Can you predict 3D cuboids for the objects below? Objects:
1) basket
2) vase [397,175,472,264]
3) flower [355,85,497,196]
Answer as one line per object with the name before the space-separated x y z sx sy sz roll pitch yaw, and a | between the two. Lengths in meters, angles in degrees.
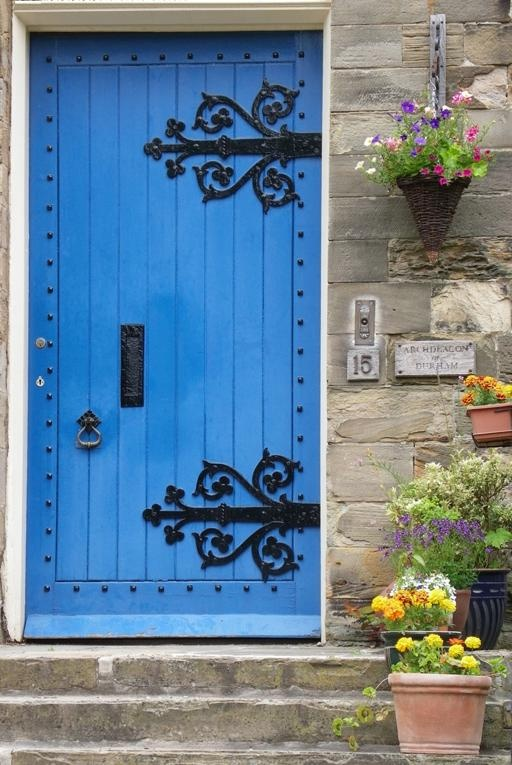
basket | 0.722 -0.663 6.328 0.291 0.332 0.319 -12 19 -31
vase | 0.721 -0.669 6.308 0.307 0.319 0.286 5 9 26
flower | 0.647 -0.959 6.243 0.396 0.265 0.385 30 28 34
